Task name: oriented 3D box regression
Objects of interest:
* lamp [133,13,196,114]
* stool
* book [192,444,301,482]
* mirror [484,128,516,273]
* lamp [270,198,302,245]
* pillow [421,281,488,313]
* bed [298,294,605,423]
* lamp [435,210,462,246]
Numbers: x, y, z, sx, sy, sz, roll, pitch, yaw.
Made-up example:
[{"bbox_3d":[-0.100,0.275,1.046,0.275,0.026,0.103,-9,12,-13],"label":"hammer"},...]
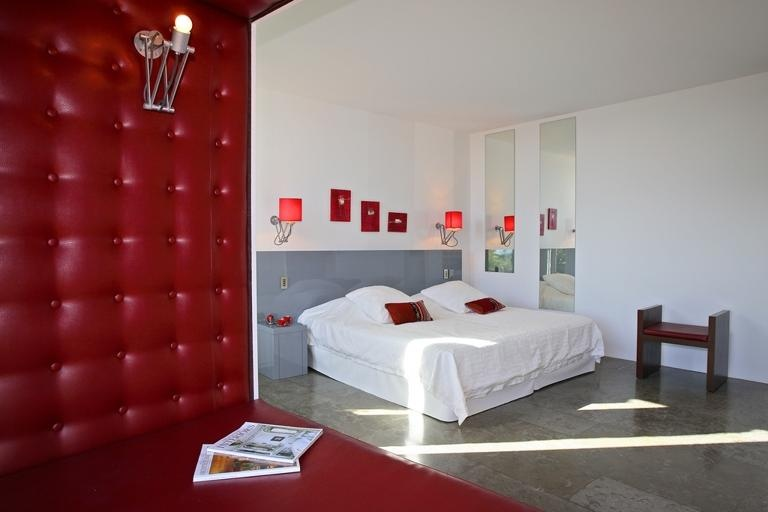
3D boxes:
[{"bbox_3d":[-1.101,-0.959,2.539,0.284,0.446,0.231,-3,10,-20],"label":"lamp"},{"bbox_3d":[3.134,0.838,5.290,0.760,1.021,1.053,1,-3,-42],"label":"stool"},{"bbox_3d":[-0.635,0.963,2.335,0.498,0.060,0.216,1,9,3],"label":"book"},{"bbox_3d":[1.614,-0.763,7.051,0.258,1.946,0.716,-6,12,-31],"label":"mirror"},{"bbox_3d":[-1.040,-0.365,5.386,0.310,0.512,0.303,-4,11,-24],"label":"lamp"},{"bbox_3d":[0.892,0.451,6.062,0.448,0.123,0.458,-15,18,-40],"label":"pillow"},{"bbox_3d":[0.358,0.912,4.791,1.489,0.477,1.442,0,-2,-41],"label":"bed"},{"bbox_3d":[0.970,-0.370,7.010,0.464,0.516,0.289,-9,13,-44],"label":"lamp"}]
